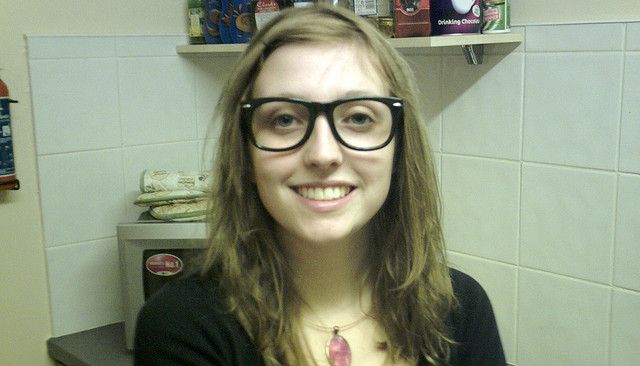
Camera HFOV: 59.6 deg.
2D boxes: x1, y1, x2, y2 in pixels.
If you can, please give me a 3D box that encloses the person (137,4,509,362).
[{"bbox_3d":[0.017,0.023,1.906,1.053,0.932,0.960,0,3,-1],"label":"person"}]
